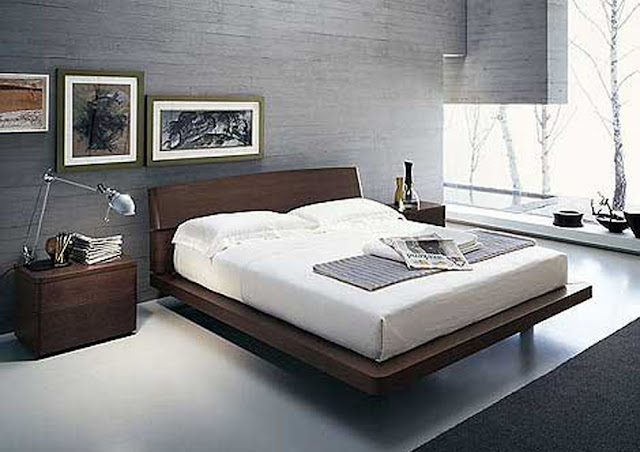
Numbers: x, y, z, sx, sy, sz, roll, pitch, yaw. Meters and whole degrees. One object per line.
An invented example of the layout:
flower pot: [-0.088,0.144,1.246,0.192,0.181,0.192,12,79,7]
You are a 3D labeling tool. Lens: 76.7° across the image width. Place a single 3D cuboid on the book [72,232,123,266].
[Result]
book: [-1.691,0.183,3.033,0.265,0.124,0.265,-4,8,-43]
